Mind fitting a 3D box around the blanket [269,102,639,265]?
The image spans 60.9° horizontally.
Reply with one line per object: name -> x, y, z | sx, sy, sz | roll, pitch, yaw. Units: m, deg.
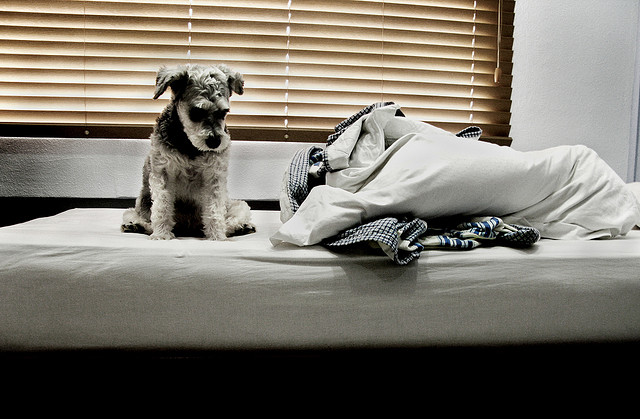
blanket -> 0.638, -0.069, 2.400 | 1.154, 0.367, 0.848 | 0, -1, -1
